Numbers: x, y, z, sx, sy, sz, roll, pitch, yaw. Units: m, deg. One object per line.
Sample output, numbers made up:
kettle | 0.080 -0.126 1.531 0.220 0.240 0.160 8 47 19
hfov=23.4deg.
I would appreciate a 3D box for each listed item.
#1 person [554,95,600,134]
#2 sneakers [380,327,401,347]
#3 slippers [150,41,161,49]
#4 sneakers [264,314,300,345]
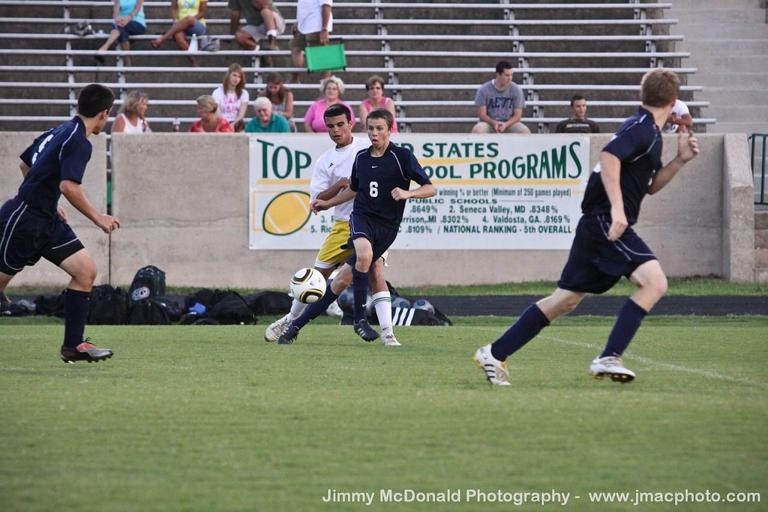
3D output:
person | 3.679 -2.651 34.889 1.032 0.822 0.523 0 -4 -8
sneakers | 0.101 1.234 28.198 0.163 0.180 0.445 -1 -6 -17
slippers | -4.559 -4.210 36.808 0.235 0.192 0.098 -1 2 -16
sneakers | -1.633 1.086 28.313 0.263 0.577 0.262 52 -3 -36
